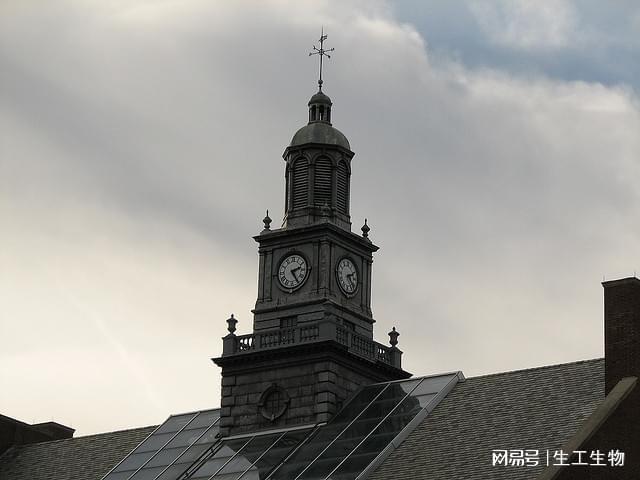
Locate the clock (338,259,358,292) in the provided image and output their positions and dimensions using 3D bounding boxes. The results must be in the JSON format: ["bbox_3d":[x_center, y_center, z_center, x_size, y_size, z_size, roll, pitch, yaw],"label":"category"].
[{"bbox_3d":[1.599,1.954,85.774,0.101,1.482,1.495,-12,-22,37],"label":"clock"}]

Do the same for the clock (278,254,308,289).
[{"bbox_3d":[-1.243,1.746,85.423,1.595,1.547,0.128,-13,-27,29],"label":"clock"}]
